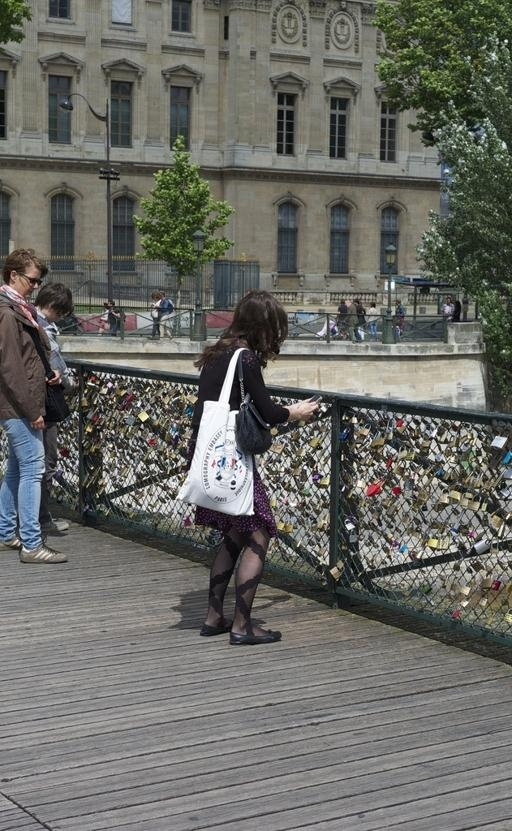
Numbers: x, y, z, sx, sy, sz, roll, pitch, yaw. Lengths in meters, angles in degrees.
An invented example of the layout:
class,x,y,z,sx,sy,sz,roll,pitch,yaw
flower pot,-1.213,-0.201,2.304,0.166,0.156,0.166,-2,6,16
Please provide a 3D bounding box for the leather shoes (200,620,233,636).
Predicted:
class,x,y,z,sx,sy,sz,roll,pitch,yaw
leather shoes,-0.181,0.971,4.568,0.161,0.053,0.059,-12,13,-33

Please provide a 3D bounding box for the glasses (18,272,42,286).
class,x,y,z,sx,sy,sz,roll,pitch,yaw
glasses,-1.306,-0.791,5.794,0.074,0.023,0.073,36,15,34

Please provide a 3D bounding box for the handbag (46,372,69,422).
class,x,y,z,sx,sy,sz,roll,pitch,yaw
handbag,-1.268,-0.120,6.341,0.128,0.319,0.313,-7,1,9

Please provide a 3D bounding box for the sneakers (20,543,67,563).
class,x,y,z,sx,sy,sz,roll,pitch,yaw
sneakers,-1.275,0.830,6.039,0.303,0.142,0.111,1,7,-10

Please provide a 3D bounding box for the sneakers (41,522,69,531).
class,x,y,z,sx,sy,sz,roll,pitch,yaw
sneakers,-1.415,0.751,7.015,0.178,0.073,0.067,-4,22,-19

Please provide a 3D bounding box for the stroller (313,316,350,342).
class,x,y,z,sx,sy,sz,roll,pitch,yaw
stroller,2.466,-2.724,31.527,1.203,0.739,0.481,-2,7,-24

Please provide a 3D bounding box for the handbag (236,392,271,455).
class,x,y,z,sx,sy,sz,roll,pitch,yaw
handbag,-0.015,0.024,4.072,0.101,0.222,0.207,-11,-9,11
